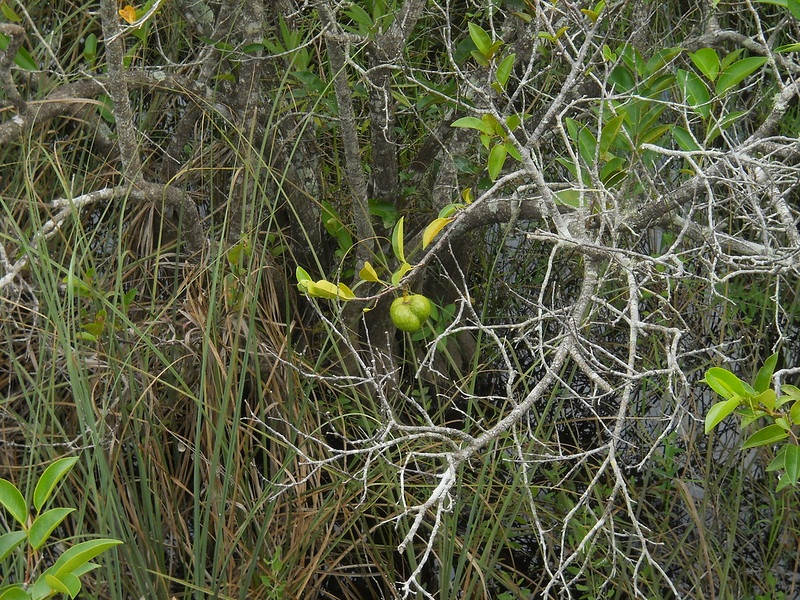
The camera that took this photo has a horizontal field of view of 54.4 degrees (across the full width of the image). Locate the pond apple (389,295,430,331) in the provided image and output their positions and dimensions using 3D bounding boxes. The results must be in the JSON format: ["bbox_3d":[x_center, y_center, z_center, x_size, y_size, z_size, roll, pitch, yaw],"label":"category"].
[{"bbox_3d":[0.014,0.040,2.077,0.107,0.126,0.113,1,11,14],"label":"pond apple"}]
